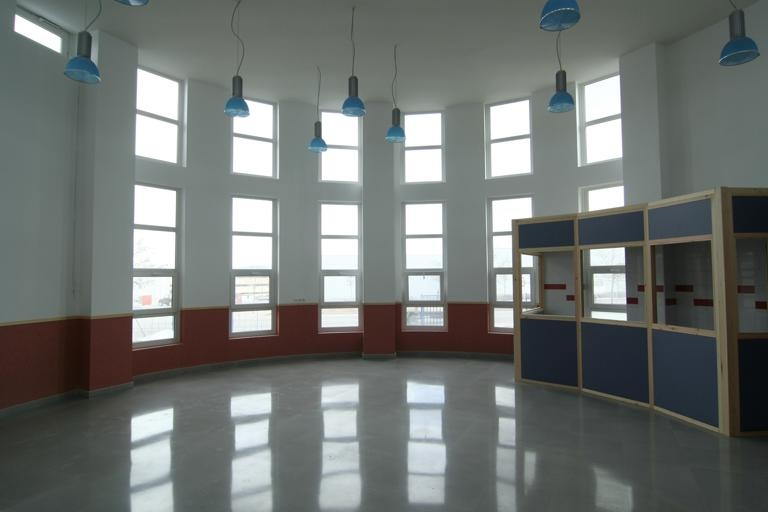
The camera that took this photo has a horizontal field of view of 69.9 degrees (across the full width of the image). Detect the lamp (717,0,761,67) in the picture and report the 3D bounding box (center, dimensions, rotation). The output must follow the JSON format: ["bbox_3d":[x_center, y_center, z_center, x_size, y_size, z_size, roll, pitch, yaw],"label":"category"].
[{"bbox_3d":[5.060,-3.118,7.776,0.442,0.762,0.477,7,14,30],"label":"lamp"}]
